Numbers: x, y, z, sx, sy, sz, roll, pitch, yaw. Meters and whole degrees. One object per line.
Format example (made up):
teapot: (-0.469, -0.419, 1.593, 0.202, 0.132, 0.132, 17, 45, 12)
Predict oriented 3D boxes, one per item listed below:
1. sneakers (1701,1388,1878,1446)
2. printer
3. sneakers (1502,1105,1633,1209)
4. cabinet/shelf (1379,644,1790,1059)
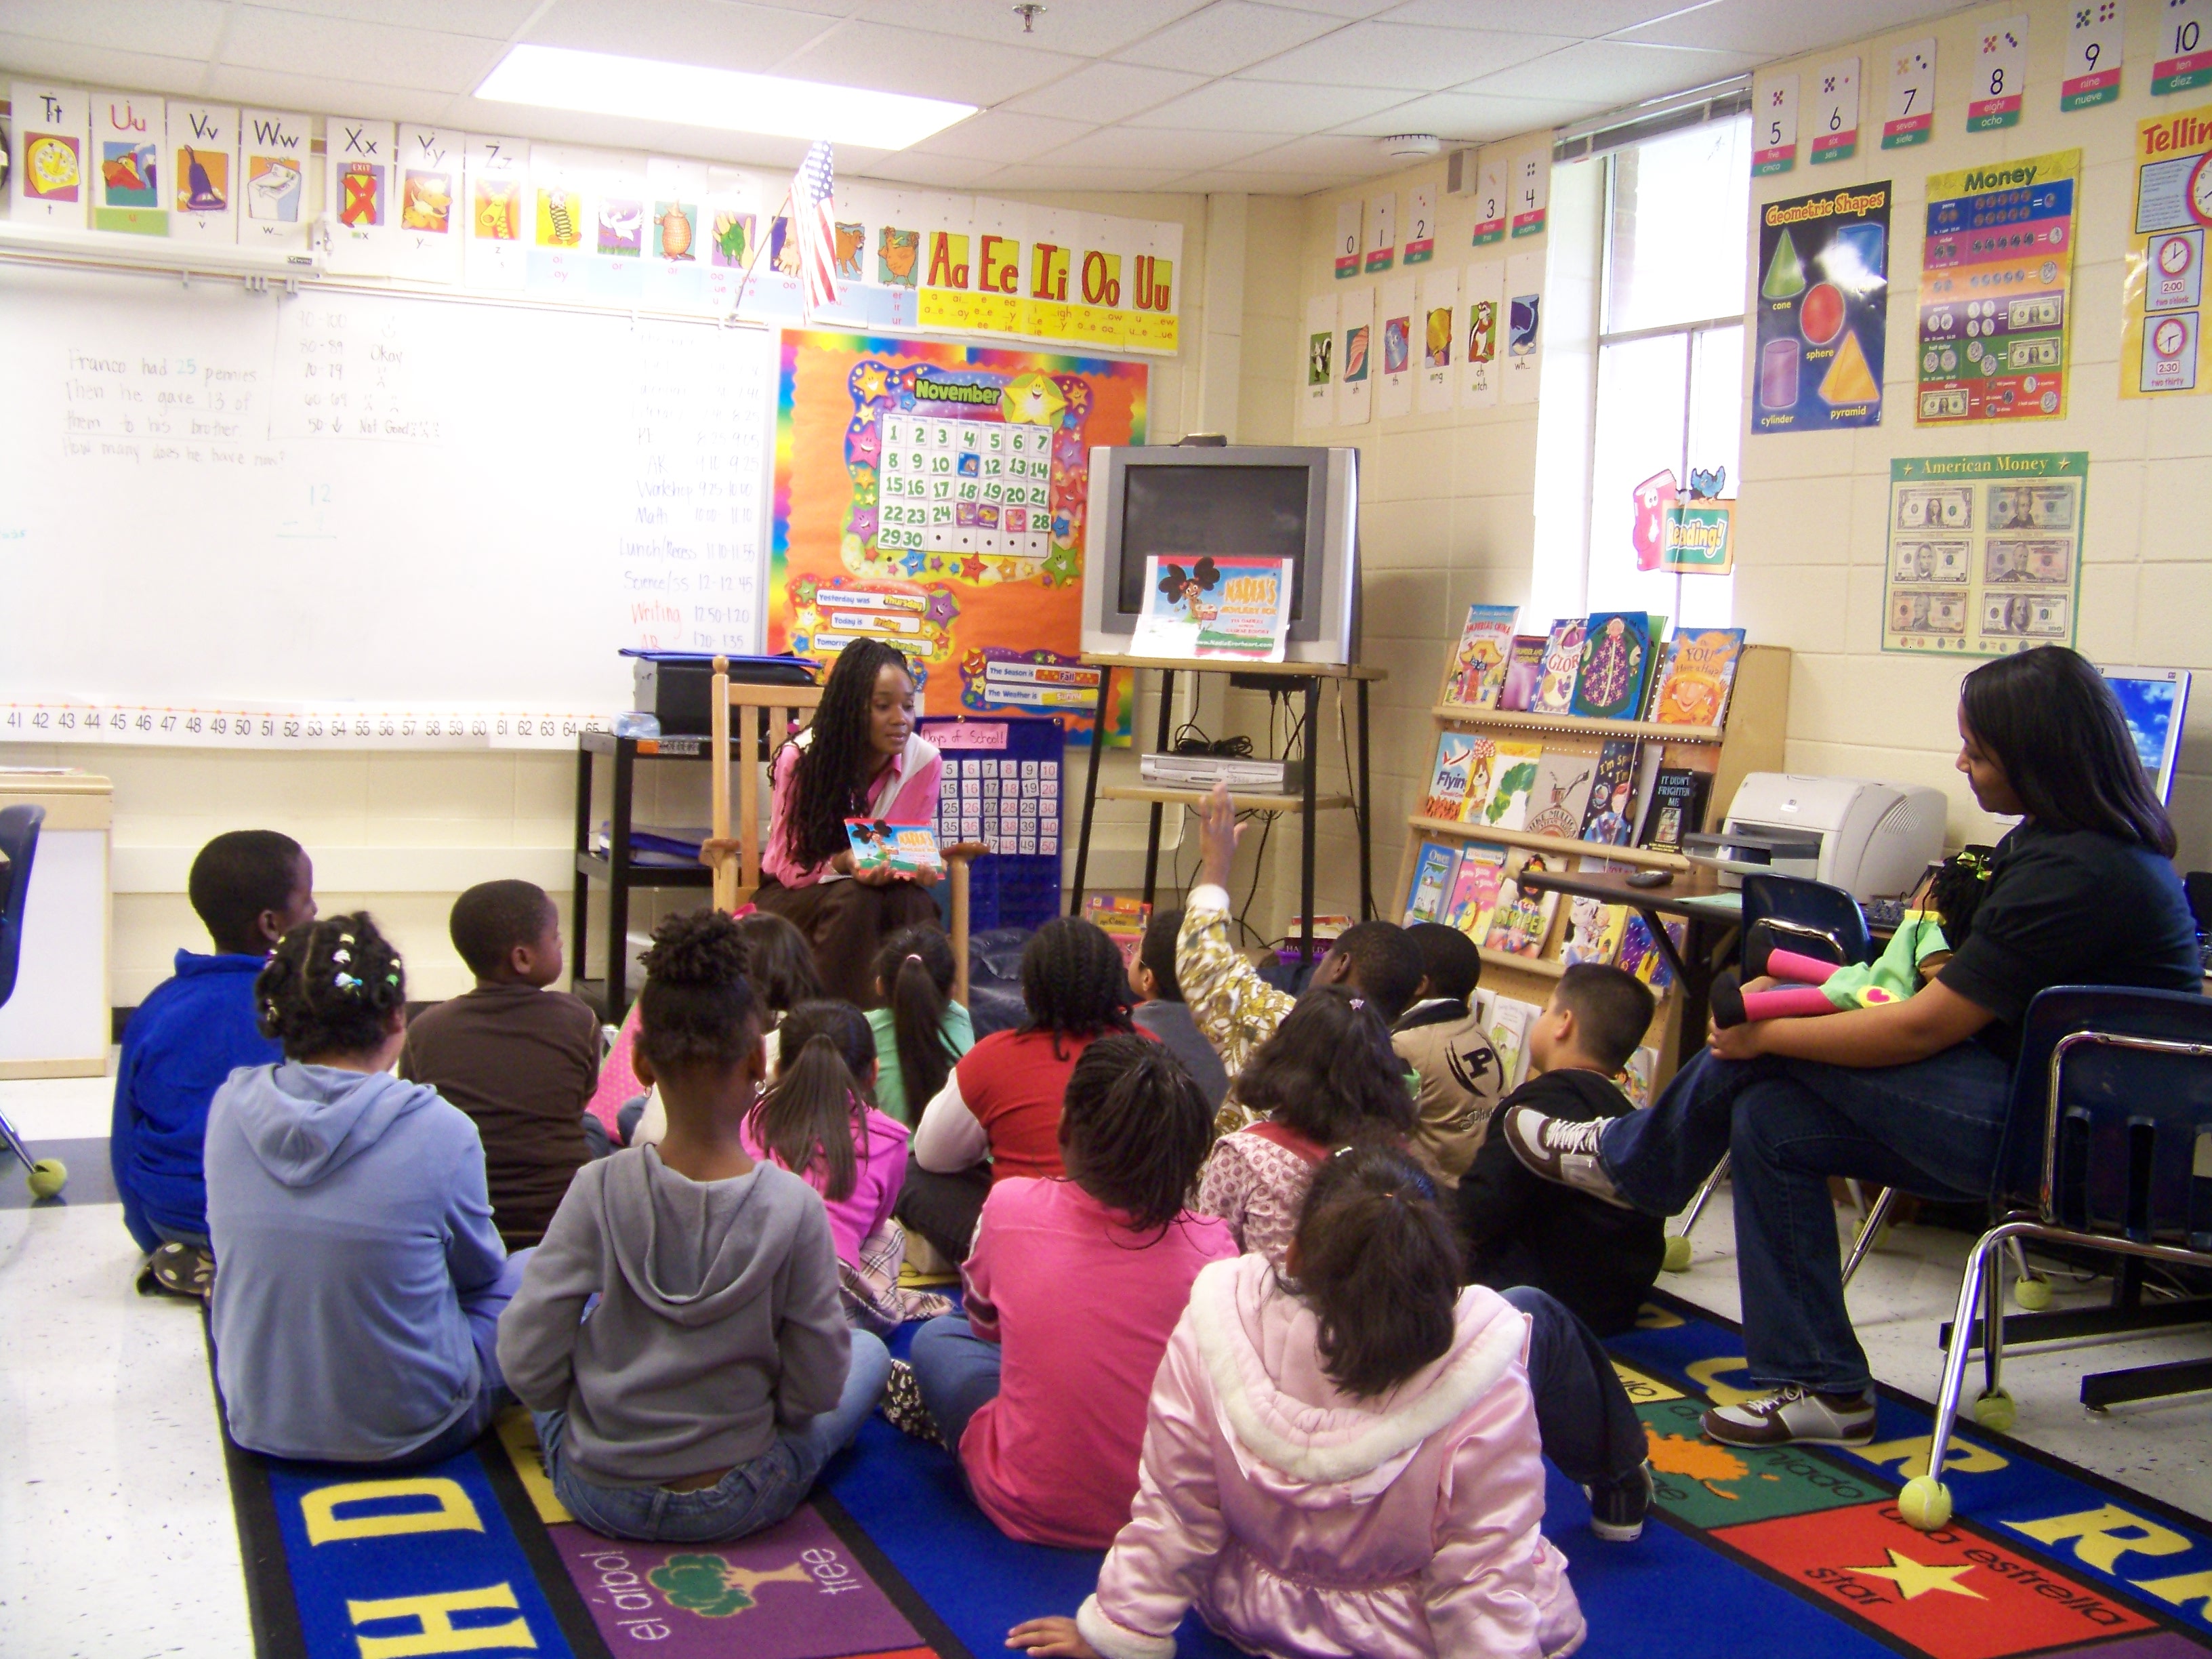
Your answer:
sneakers: (1.253, 1.095, 2.875, 0.313, 0.128, 0.118, 2, -1, -3)
printer: (1.959, -0.043, 4.328, 0.545, 0.367, 0.393, -7, 7, -28)
sneakers: (0.885, 0.623, 3.131, 0.314, 0.144, 0.111, 25, 5, 11)
cabinet/shelf: (1.464, 0.064, 4.654, 0.407, 1.246, 1.180, 7, 2, -25)
